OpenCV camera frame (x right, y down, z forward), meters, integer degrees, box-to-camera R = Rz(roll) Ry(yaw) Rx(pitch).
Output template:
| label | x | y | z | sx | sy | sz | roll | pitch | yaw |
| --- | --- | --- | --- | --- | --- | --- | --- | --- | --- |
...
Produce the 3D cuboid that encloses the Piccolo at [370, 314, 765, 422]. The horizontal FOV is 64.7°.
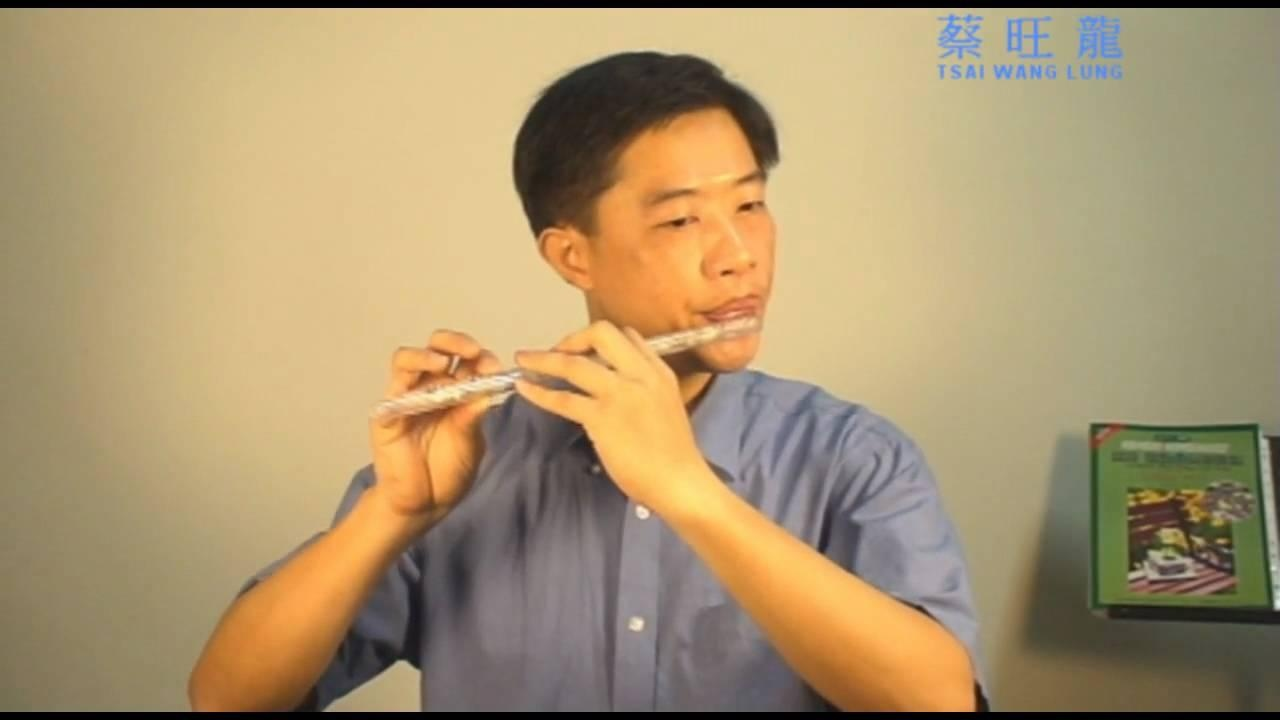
| label | x | y | z | sx | sy | sz | roll | pitch | yaw |
| --- | --- | --- | --- | --- | --- | --- | --- | --- | --- |
| Piccolo | -0.156 | 0.019 | 2.618 | 1.035 | 0.198 | 0.248 | -5 | 5 | -14 |
